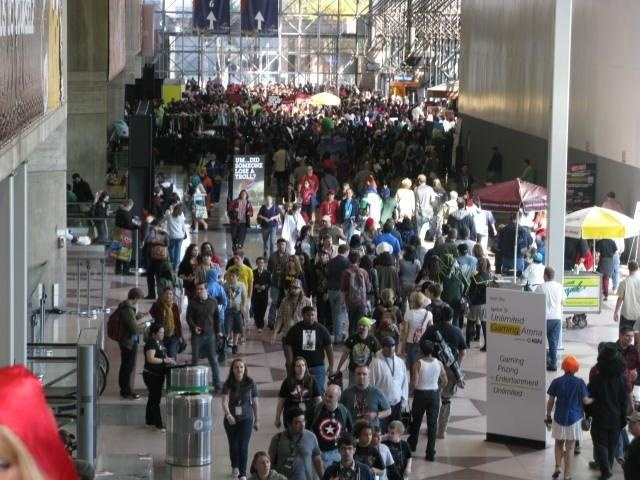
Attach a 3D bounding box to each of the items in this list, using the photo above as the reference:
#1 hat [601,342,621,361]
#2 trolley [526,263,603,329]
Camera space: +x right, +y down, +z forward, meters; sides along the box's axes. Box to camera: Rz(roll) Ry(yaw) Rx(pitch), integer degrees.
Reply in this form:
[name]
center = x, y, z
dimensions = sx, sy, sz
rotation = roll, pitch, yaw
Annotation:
[hat]
center = 3.842, 1.459, 14.060
dimensions = 0.289, 0.206, 0.252
rotation = 1, 6, 17
[trolley]
center = 4.611, 0.981, 19.477
dimensions = 0.977, 1.632, 1.284
rotation = 4, 7, 4
